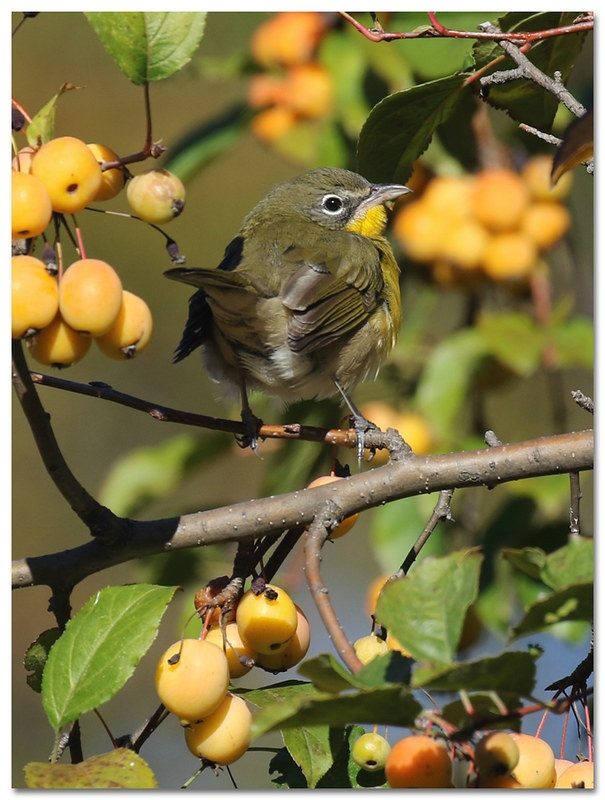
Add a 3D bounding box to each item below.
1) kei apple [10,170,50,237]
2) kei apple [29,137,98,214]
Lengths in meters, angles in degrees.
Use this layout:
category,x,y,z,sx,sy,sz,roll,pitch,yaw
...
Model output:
category,x,y,z,sx,sy,sz,roll,pitch,yaw
kei apple,-0.527,-0.374,1.919,0.080,0.130,0.129,-7,17,-9
kei apple,-0.488,-0.452,1.981,0.145,0.144,0.149,12,24,32
